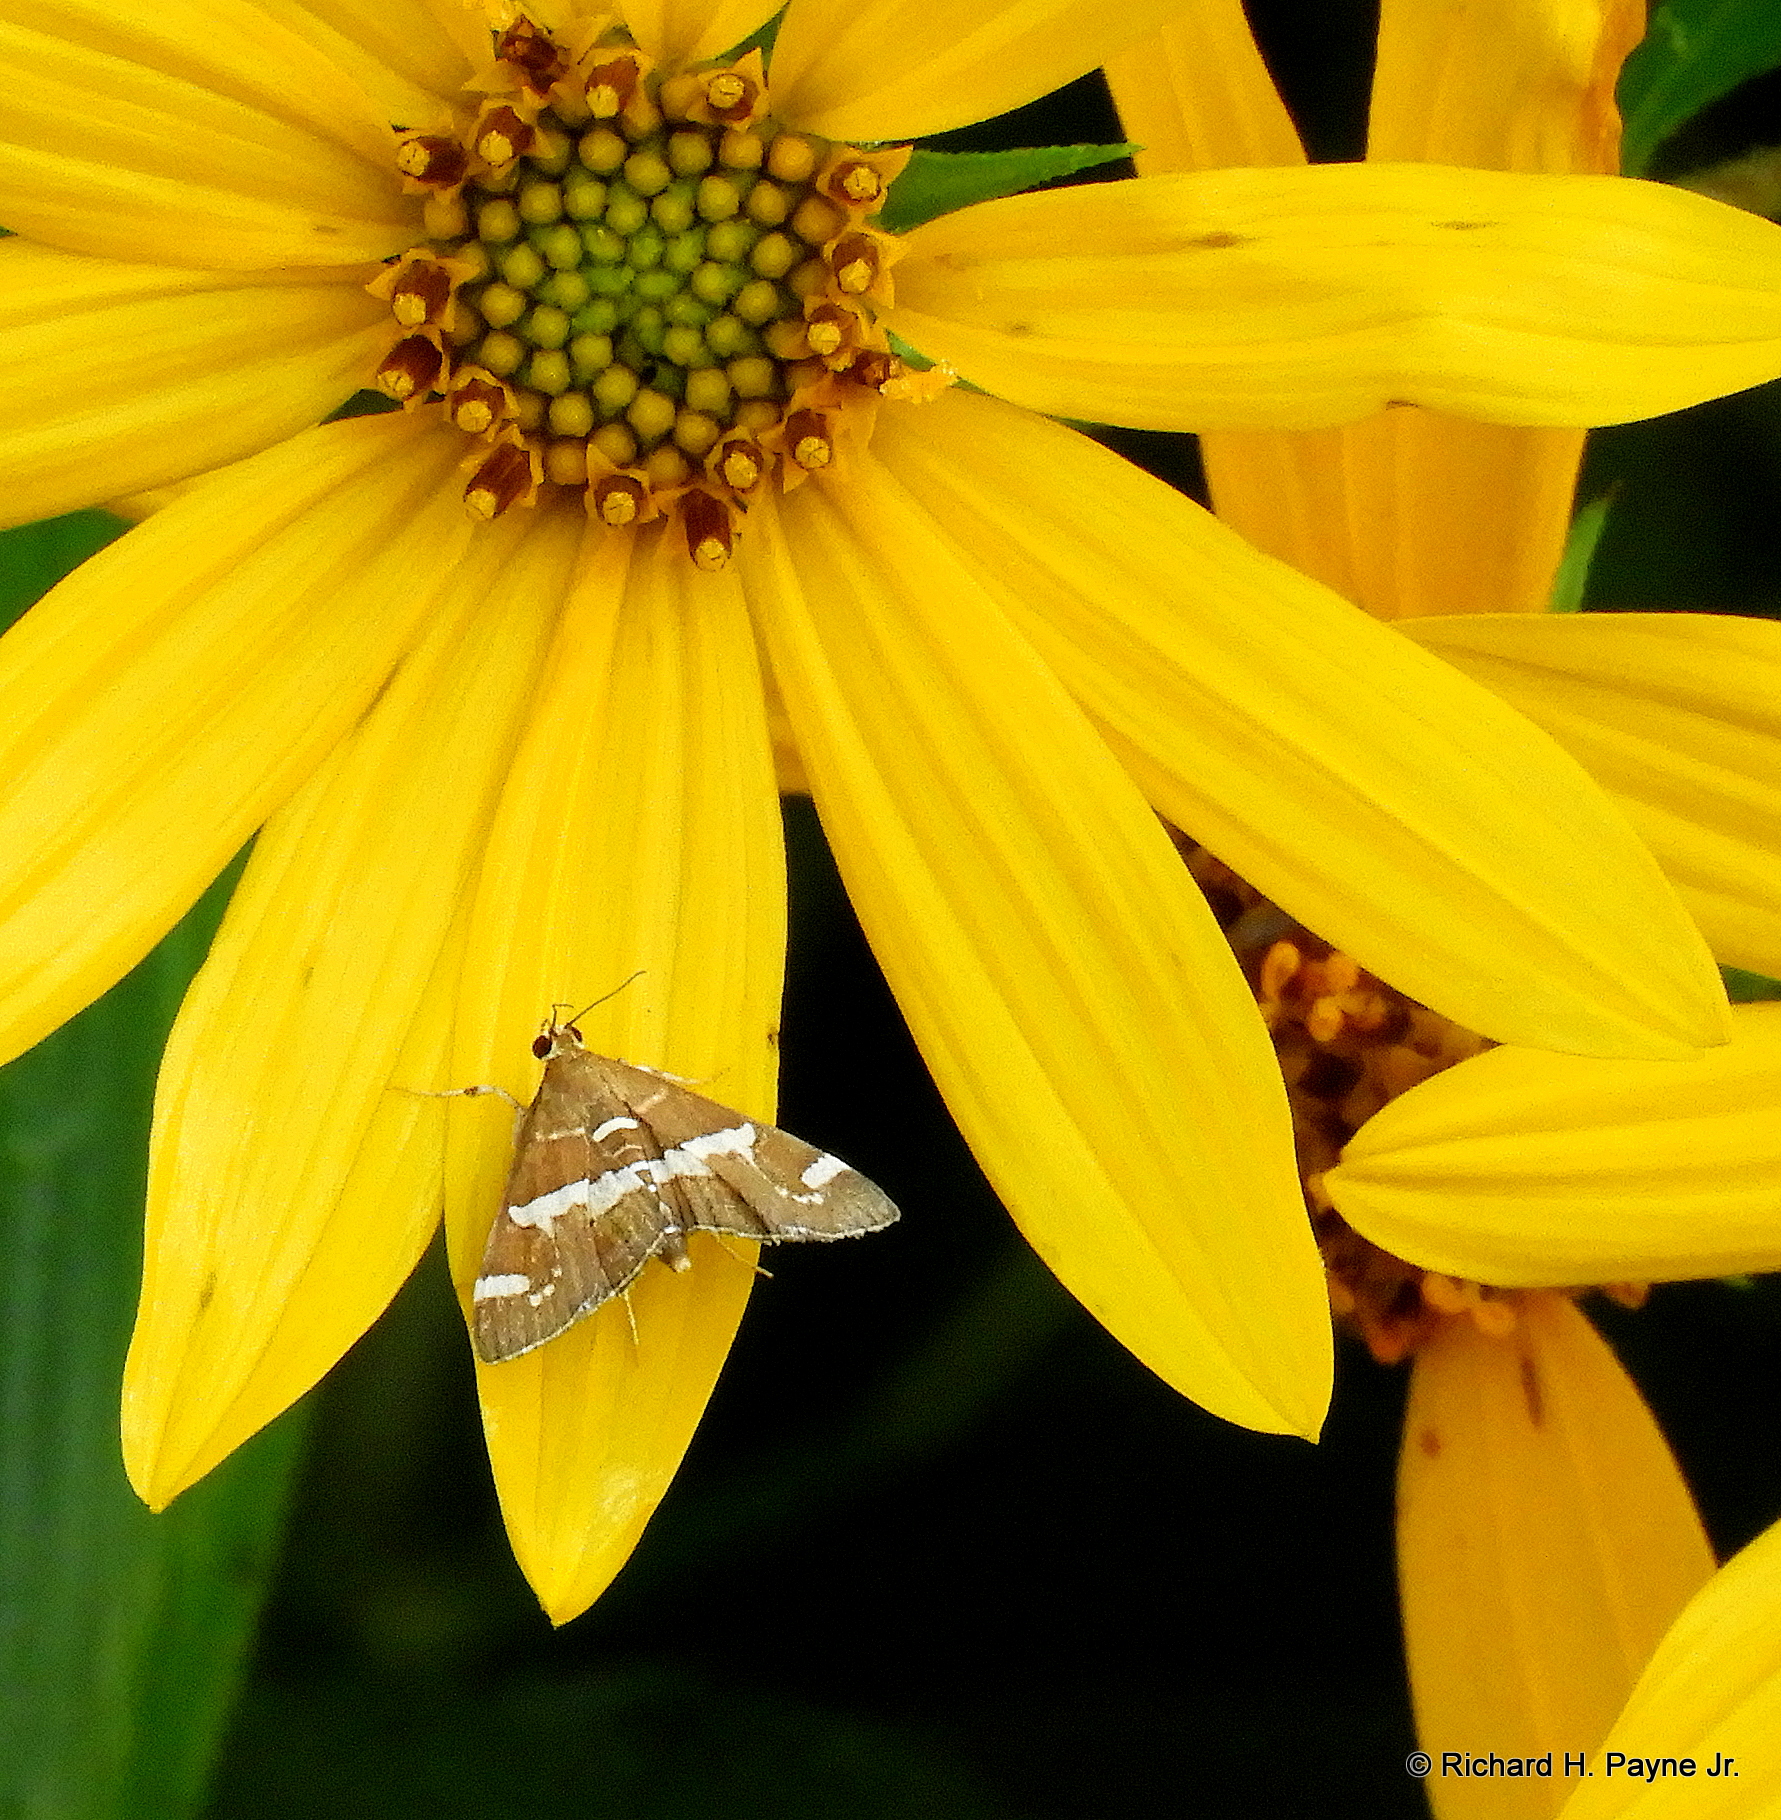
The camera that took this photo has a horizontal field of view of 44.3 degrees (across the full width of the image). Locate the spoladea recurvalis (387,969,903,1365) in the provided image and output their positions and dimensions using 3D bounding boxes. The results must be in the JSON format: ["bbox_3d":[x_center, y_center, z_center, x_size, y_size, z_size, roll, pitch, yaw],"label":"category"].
[{"bbox_3d":[-0.097,0.127,0.892,0.150,0.043,0.144,-26,76,-18],"label":"spoladea recurvalis"}]
